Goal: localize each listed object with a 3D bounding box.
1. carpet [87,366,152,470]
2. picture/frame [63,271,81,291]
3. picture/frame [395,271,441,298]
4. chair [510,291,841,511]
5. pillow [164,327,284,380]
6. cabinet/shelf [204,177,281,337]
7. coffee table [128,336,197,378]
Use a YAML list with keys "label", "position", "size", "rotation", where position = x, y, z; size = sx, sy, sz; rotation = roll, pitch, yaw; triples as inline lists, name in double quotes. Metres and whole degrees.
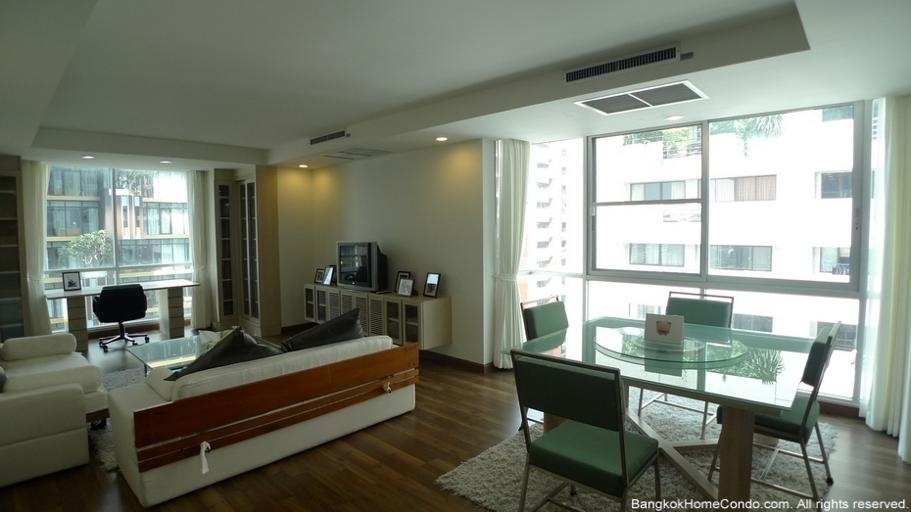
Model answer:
- label: "carpet"
  position: [-3.813, 1.876, 6.382]
  size: [0.605, 0.684, 1.051]
  rotation: [-3, 13, -34]
- label: "picture/frame"
  position: [-6.533, 0.433, 9.607]
  size: [0.030, 0.363, 0.337]
  rotation: [-19, -11, 40]
- label: "picture/frame"
  position: [-0.648, 0.447, 8.895]
  size: [0.848, 0.367, 0.337]
  rotation: [0, 5, 35]
- label: "chair"
  position: [2.401, 1.546, 6.236]
  size: [2.688, 1.547, 2.452]
  rotation: [3, 4, 35]
- label: "pillow"
  position: [-2.607, 1.090, 6.419]
  size: [0.845, 0.229, 0.635]
  rotation: [-12, 12, -36]
- label: "cabinet/shelf"
  position: [-3.955, -0.089, 10.522]
  size: [1.554, 3.052, 0.503]
  rotation: [0, 6, 31]
- label: "coffee table"
  position: [-3.925, 1.278, 7.805]
  size: [0.757, 0.179, 0.834]
  rotation: [-7, 14, -37]
